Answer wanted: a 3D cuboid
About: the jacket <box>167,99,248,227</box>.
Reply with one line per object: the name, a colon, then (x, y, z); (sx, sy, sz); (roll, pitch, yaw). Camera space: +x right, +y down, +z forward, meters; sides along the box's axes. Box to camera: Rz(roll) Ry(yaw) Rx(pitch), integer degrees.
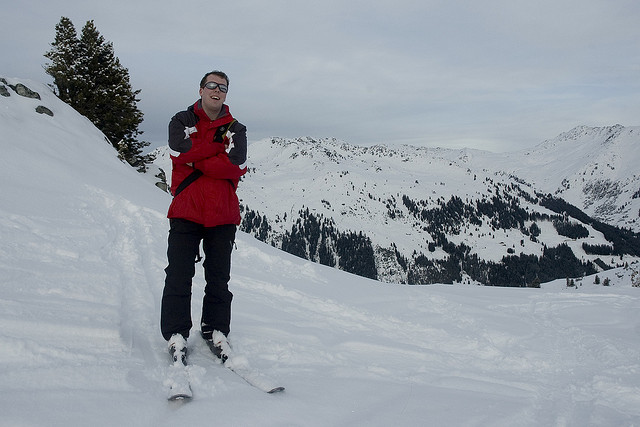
jacket: (-2.601, -1.164, 13.622); (1.803, 2.353, 0.553); (-4, -1, -12)
